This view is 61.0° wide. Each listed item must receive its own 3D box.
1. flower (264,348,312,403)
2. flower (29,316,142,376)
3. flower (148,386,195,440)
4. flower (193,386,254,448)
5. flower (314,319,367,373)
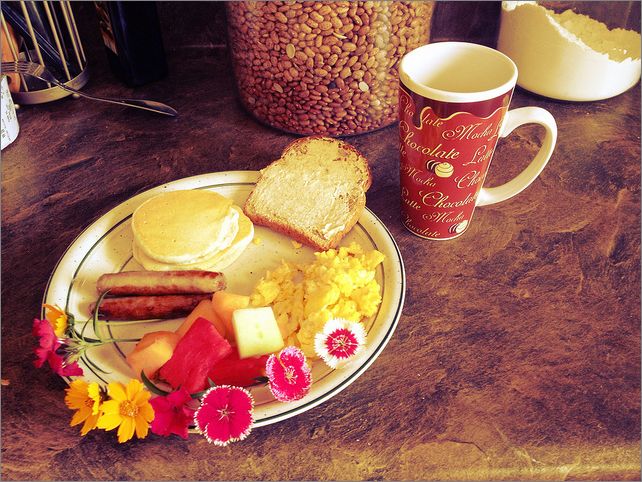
[{"bbox_3d":[-0.054,0.228,0.919,0.097,0.022,0.086,4,77,30],"label":"flower"},{"bbox_3d":[-0.443,0.187,0.964,0.145,0.103,0.082,-14,74,13],"label":"flower"},{"bbox_3d":[-0.244,0.280,0.884,0.064,0.041,0.069,-5,51,-4],"label":"flower"},{"bbox_3d":[-0.158,0.283,0.883,0.094,0.040,0.083,-1,51,0],"label":"flower"},{"bbox_3d":[0.035,0.176,0.956,0.098,0.027,0.080,-36,59,-26],"label":"flower"}]
